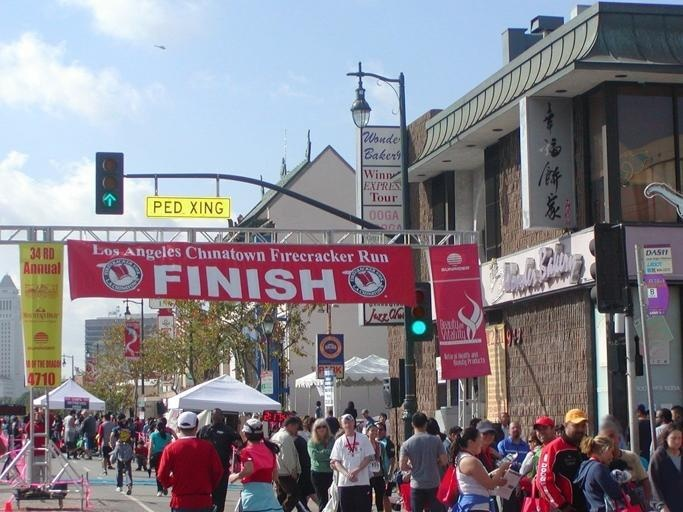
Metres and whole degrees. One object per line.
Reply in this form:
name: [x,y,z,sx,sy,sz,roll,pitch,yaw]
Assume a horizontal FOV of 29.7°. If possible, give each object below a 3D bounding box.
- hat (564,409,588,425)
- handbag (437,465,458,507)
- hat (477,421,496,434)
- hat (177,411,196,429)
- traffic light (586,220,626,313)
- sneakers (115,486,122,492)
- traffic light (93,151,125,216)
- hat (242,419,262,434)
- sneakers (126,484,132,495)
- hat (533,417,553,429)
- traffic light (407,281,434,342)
hat: [3.922,2.672,21.598,0.333,0.301,0.611,-3,-13,7]
handbag: [1.785,3.827,21.654,0.332,0.711,0.668,-1,-13,-1]
hat: [2.635,3.109,23.530,0.267,0.236,0.427,5,-15,-9]
hat: [-2.614,2.790,22.039,0.325,0.281,0.569,3,-4,1]
traffic light: [5.101,0.197,24.358,0.597,1.715,0.360,-3,-12,9]
sneakers: [-6.140,6.433,35.701,0.084,0.167,0.218,-6,-15,43]
traffic light: [-5.385,-1.687,30.000,0.590,1.464,0.241,3,-12,-20]
hat: [-1.514,2.910,22.230,0.321,0.304,0.398,0,-13,-8]
sneakers: [-5.725,6.273,34.831,0.122,0.433,0.272,2,11,-7]
hat: [3.572,2.919,22.750,0.334,0.213,0.266,0,-13,-5]
traffic light: [1.737,1.212,28.697,0.581,1.310,0.316,1,-12,-8]
